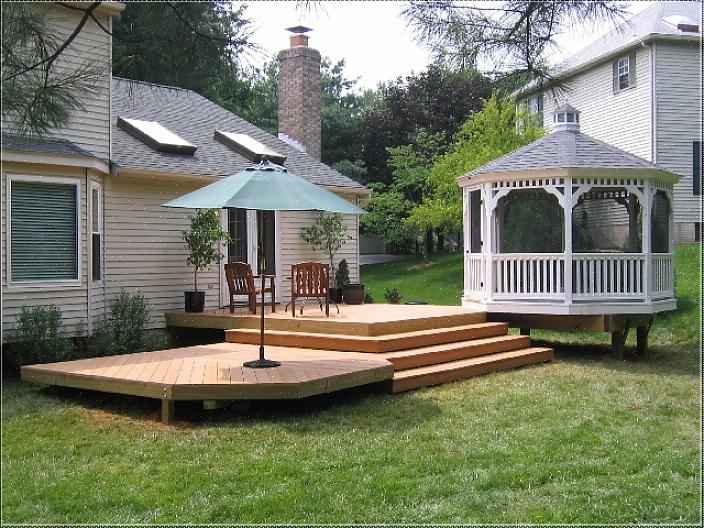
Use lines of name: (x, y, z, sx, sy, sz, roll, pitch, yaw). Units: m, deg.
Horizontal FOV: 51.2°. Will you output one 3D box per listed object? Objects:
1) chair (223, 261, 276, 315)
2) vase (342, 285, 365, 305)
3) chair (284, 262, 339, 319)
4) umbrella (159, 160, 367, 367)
chair: (-1.954, 0.452, 13.957, 0.863, 0.949, 0.854, -2, 1, -37)
vase: (0.022, 0.715, 16.841, 0.417, 0.351, 0.432, -1, -4, 8)
chair: (-0.785, 0.471, 13.758, 0.992, 1.058, 0.986, 4, 6, 40)
umbrella: (-1.285, -0.207, 10.600, 2.779, 2.677, 2.905, -1, -1, 27)
